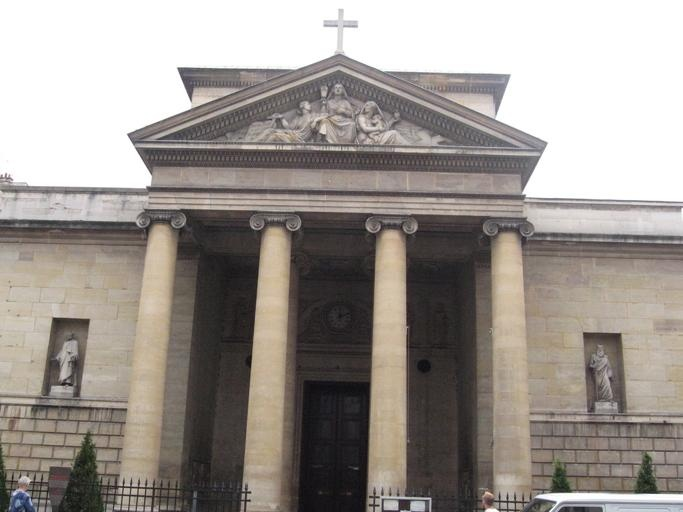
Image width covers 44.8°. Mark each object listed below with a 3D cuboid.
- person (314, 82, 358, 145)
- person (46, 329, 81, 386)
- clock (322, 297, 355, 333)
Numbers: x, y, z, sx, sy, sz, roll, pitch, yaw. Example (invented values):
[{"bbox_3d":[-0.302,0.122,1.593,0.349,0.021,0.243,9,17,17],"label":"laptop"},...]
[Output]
[{"bbox_3d":[-0.253,-5.046,29.692,1.596,2.425,1.001,5,-12,-19],"label":"person"},{"bbox_3d":[-10.259,3.858,30.922,0.905,2.061,0.441,-4,-22,12],"label":"person"},{"bbox_3d":[-0.141,2.537,35.036,1.299,1.356,0.176,1,-21,0],"label":"clock"}]
